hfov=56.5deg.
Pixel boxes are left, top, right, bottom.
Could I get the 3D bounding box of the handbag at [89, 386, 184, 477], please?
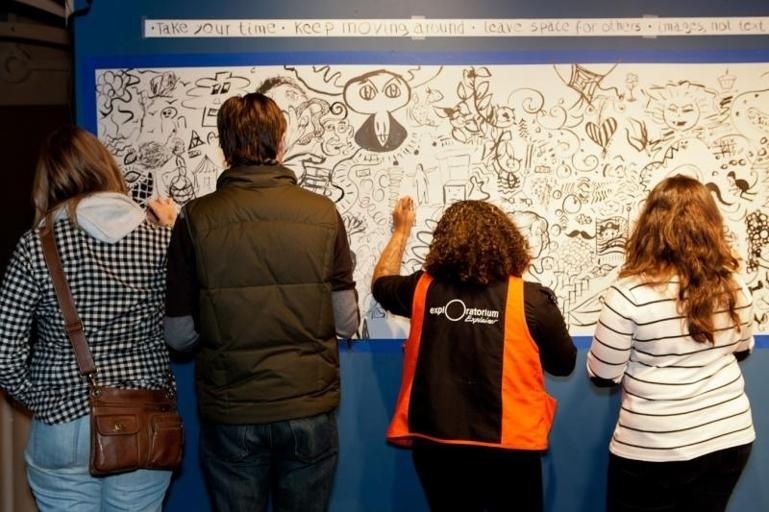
[{"bbox_3d":[-1.182,0.826,3.361,0.415,0.387,0.161,3,-15,-25],"label":"handbag"}]
